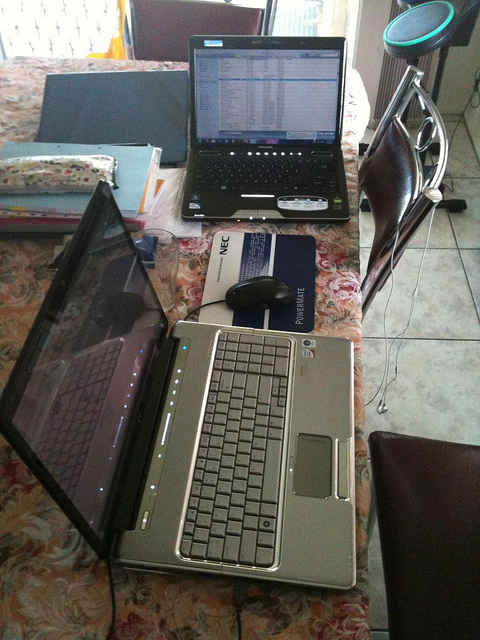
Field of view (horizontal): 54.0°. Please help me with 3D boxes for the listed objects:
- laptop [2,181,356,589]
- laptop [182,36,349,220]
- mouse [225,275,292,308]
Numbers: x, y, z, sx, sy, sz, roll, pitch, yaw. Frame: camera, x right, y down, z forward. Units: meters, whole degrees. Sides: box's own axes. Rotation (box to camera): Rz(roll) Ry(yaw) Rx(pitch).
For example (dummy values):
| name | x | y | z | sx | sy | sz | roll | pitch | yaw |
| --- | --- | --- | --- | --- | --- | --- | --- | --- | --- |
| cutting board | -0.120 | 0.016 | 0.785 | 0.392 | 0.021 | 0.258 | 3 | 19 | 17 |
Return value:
| name | x | y | z | sx | sy | sz | roll | pitch | yaw |
| --- | --- | --- | --- | --- | --- | --- | --- | --- | --- |
| laptop | -0.019 | 0.052 | 0.487 | 0.293 | 0.276 | 0.328 | 3 | 43 | 8 |
| laptop | 0.041 | -0.307 | 1.010 | 0.388 | 0.269 | 0.341 | 0 | 65 | -1 |
| mouse | 0.027 | -0.038 | 0.692 | 0.086 | 0.028 | 0.044 | -2 | 44 | 3 |
